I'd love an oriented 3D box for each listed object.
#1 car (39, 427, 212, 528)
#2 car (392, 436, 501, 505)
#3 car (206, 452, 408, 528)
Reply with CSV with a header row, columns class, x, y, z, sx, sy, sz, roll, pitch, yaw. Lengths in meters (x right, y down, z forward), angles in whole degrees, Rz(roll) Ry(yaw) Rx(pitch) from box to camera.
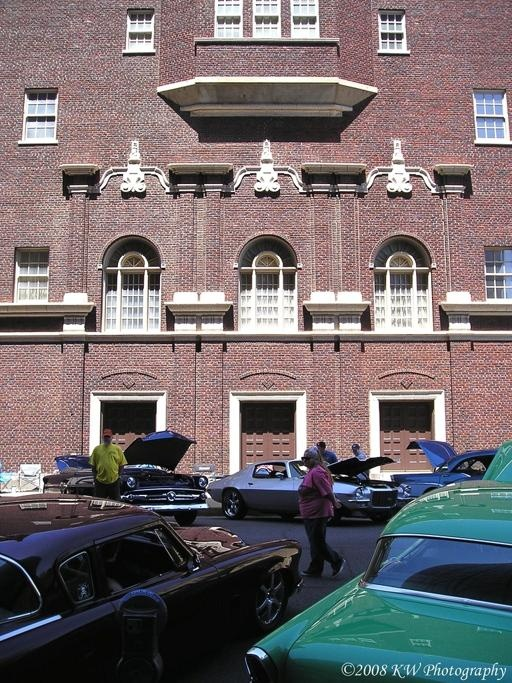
class,x,y,z,sx,sy,sz,roll,pitch,yaw
car,-2.505,2.462,14.678,1.651,1.204,3.096,4,-7,-41
car,3.395,2.375,14.366,2.299,0.761,1.264,-7,-6,5
car,0.819,2.694,15.014,3.331,0.950,1.531,-5,-8,33
